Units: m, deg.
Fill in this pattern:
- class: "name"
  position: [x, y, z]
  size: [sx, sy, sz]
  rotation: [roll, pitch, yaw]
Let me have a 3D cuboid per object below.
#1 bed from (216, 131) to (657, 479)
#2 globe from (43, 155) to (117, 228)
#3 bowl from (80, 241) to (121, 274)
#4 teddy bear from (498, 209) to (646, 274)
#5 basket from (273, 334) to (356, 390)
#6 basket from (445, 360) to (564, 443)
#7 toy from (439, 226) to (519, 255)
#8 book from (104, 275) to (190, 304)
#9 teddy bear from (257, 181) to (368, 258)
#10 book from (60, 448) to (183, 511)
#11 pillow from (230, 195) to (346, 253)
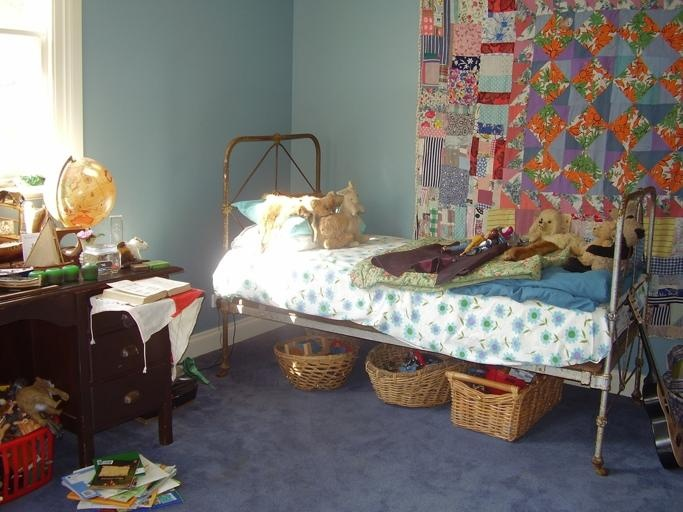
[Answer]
- class: "bed"
  position: [0.585, 0.170, 3.582]
  size: [2.304, 1.480, 1.316]
  rotation: [7, 11, 29]
- class: "globe"
  position: [-1.343, -0.343, 2.791]
  size: [0.320, 0.352, 0.311]
  rotation: [-6, 22, -34]
- class: "bowl"
  position: [-1.202, -0.005, 2.721]
  size: [0.162, 0.155, 0.158]
  rotation: [1, 6, 0]
- class: "teddy bear"
  position: [1.365, -0.073, 3.155]
  size: [0.580, 0.230, 0.412]
  rotation: [-1, 8, 32]
- class: "basket"
  position: [-0.149, 0.686, 3.558]
  size: [0.389, 0.165, 0.387]
  rotation: [0, 0, -11]
- class: "basket"
  position: [0.983, 0.821, 3.188]
  size: [0.328, 0.242, 0.571]
  rotation: [1, 3, 37]
- class: "toy"
  position: [0.887, -0.098, 3.447]
  size: [0.430, 0.127, 0.115]
  rotation: [-15, 6, -6]
- class: "book"
  position: [-0.958, 0.160, 2.682]
  size: [0.237, 0.081, 0.365]
  rotation: [8, 15, 34]
- class: "teddy bear"
  position: [-0.204, -0.246, 3.610]
  size: [0.513, 0.208, 0.458]
  rotation: [-2, 21, -2]
- class: "book"
  position: [-1.028, 1.010, 2.480]
  size: [0.263, 0.062, 0.262]
  rotation: [2, 13, 6]
- class: "pillow"
  position: [-0.327, -0.229, 3.641]
  size: [0.458, 0.156, 0.421]
  rotation: [-6, 53, 2]
